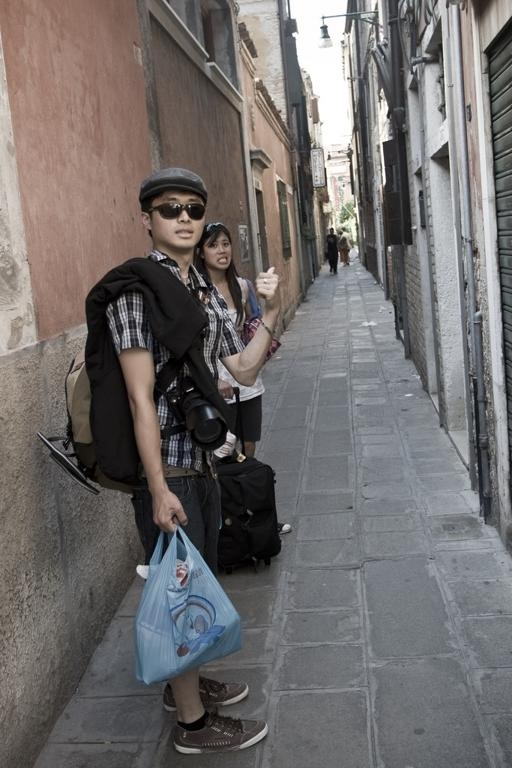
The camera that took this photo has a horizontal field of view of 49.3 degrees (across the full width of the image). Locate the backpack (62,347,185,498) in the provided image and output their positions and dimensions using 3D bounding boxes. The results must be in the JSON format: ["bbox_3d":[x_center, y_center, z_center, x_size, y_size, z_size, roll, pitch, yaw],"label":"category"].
[{"bbox_3d":[-0.346,0.079,1.573,0.299,0.588,0.393,-5,-1,-8],"label":"backpack"}]

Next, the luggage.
[{"bbox_3d":[-0.006,0.561,3.572,0.470,1.127,0.736,-3,4,-4],"label":"luggage"}]

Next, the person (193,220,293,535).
[{"bbox_3d":[-0.014,-0.288,3.553,0.637,2.040,0.629,-1,4,8],"label":"person"}]

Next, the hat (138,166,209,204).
[{"bbox_3d":[-0.219,-0.524,1.526,0.131,0.107,0.162,3,14,13],"label":"hat"}]

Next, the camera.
[{"bbox_3d":[-0.146,0.071,1.371,0.089,0.181,0.191,-5,0,-36],"label":"camera"}]

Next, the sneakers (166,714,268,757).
[{"bbox_3d":[-0.117,0.995,1.683,0.282,0.137,0.117,-2,-7,-9],"label":"sneakers"}]
